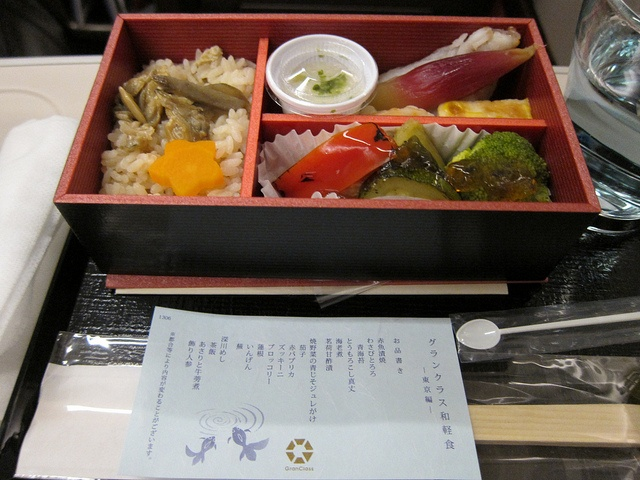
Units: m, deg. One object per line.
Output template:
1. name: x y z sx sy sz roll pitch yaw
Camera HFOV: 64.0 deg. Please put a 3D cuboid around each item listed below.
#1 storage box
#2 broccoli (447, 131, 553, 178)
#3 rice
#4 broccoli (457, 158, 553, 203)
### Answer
1. storage box: 0.118 -0.259 1.743 1.241 0.940 1.049 7 33 15
2. broccoli: 0.562 -0.254 1.540 0.208 0.059 0.157 -1 67 8
3. rice: -0.457 -0.390 1.623 0.392 0.151 0.538 3 64 -6
4. broccoli: 0.498 -0.180 1.506 0.199 0.127 0.275 1 21 0
